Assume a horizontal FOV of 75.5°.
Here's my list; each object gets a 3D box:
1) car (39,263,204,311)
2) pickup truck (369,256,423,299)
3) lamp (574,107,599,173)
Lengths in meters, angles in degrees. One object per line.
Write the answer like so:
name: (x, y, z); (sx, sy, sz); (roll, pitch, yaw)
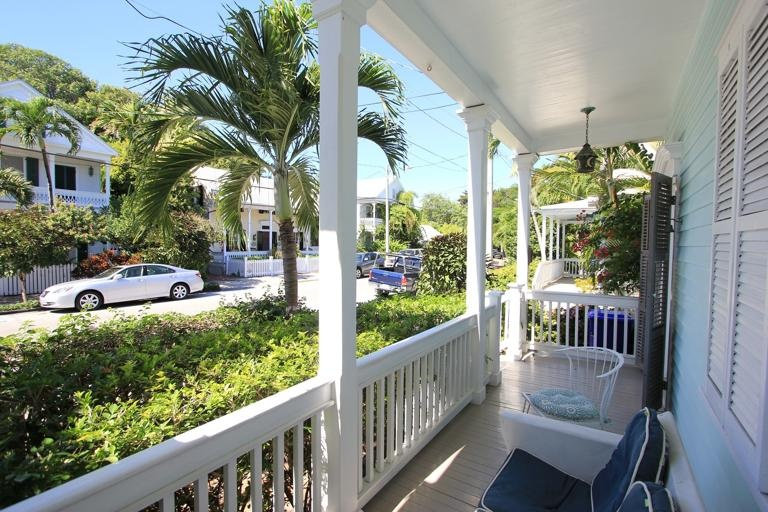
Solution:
car: (-6.076, 0.725, 11.755); (1.290, 0.968, 3.121); (-2, -3, 42)
pickup truck: (0.563, 0.509, 14.079); (1.187, 1.298, 2.362); (8, 8, 24)
lamp: (2.806, -1.570, 6.918); (0.257, 0.788, 0.954); (-3, 2, 22)
